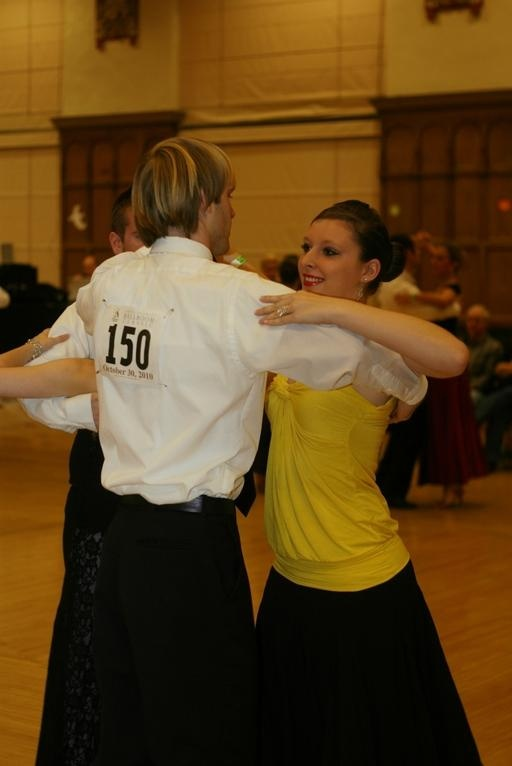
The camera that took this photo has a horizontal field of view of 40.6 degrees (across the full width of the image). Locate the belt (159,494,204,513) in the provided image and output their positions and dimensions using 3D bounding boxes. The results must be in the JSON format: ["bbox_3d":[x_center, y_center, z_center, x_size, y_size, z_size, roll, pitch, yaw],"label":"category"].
[{"bbox_3d":[-0.104,0.182,1.060,0.036,0.022,0.033,3,-5,4],"label":"belt"}]
